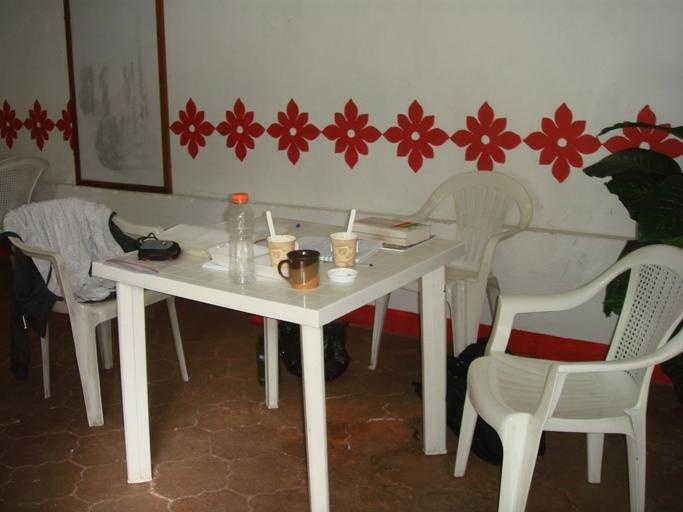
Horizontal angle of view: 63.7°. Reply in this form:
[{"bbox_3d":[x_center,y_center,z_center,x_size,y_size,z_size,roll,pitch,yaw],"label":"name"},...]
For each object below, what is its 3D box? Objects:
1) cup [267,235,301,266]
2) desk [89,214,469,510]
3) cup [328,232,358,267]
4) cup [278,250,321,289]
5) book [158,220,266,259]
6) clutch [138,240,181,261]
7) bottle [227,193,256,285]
[{"bbox_3d":[-0.221,-0.031,2.081,0.107,0.110,0.104,1,14,0],"label":"cup"},{"bbox_3d":[-0.236,0.338,2.347,1.181,1.133,1.206,9,16,38],"label":"desk"},{"bbox_3d":[0.008,-0.026,2.164,0.117,0.132,0.117,0,17,0],"label":"cup"},{"bbox_3d":[-0.143,0.047,1.986,0.157,0.121,0.104,-7,20,-19],"label":"cup"},{"bbox_3d":[-0.627,-0.074,2.316,0.237,0.066,0.263,8,16,-11],"label":"book"},{"bbox_3d":[-0.731,-0.028,2.175,0.111,0.040,0.089,1,19,-8],"label":"clutch"},{"bbox_3d":[-0.383,-0.081,2.066,0.103,0.312,0.280,-4,13,-11],"label":"bottle"}]
